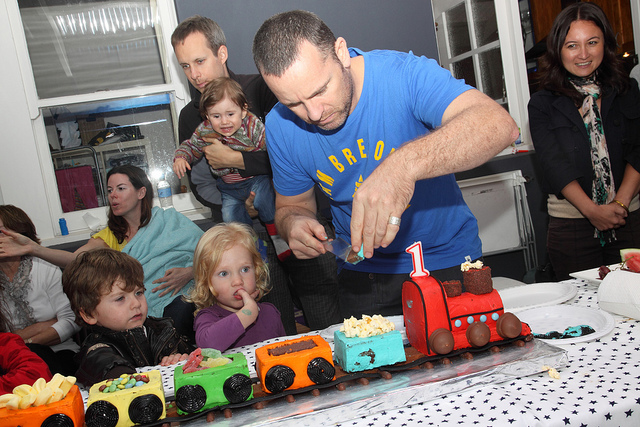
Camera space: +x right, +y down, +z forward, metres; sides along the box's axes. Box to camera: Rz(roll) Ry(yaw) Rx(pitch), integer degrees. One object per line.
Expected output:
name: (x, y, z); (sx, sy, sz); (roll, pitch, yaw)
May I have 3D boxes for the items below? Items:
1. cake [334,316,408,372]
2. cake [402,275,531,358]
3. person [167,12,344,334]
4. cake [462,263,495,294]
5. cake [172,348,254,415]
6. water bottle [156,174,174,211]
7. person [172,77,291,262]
cake: (0.141, 0.373, 1.225); (0.225, 0.114, 0.238); (-5, -1, 18)
cake: (0.445, 0.284, 1.267); (0.325, 0.210, 0.242); (-7, -3, -4)
person: (-0.437, -0.079, 2.497); (0.633, 2.044, 0.663); (-15, 4, 7)
cake: (0.468, 0.196, 1.236); (0.052, 0.082, 0.095); (-13, 1, -19)
cake: (-0.293, 0.446, 1.139); (0.193, 0.113, 0.157); (-7, 10, -13)
water bottle: (-1.082, -0.161, 2.871); (0.093, 0.197, 0.217); (-10, 15, -20)
person: (-0.520, -0.213, 2.421); (0.534, 1.069, 0.478); (-5, 30, 8)
